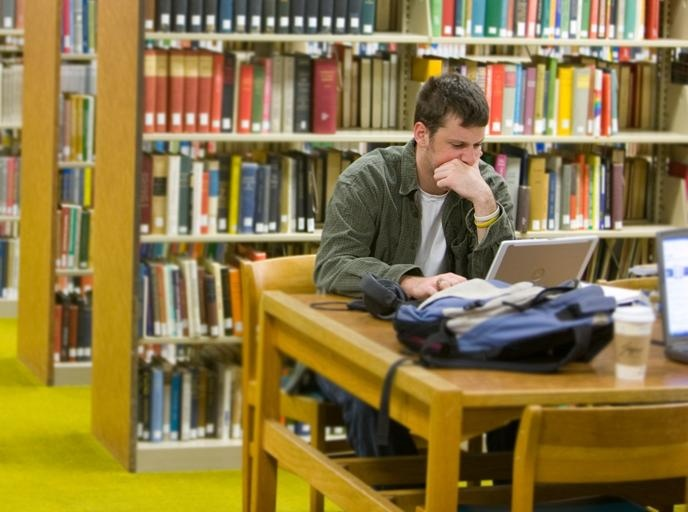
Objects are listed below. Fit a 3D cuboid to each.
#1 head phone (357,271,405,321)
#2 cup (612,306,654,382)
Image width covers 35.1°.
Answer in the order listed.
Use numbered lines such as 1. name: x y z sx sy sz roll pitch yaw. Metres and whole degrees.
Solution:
1. head phone: 0.118 0.138 3.465 0.128 0.061 0.133 15 -37 -5
2. cup: 0.842 0.243 3.099 0.165 0.207 0.092 -6 9 -30
